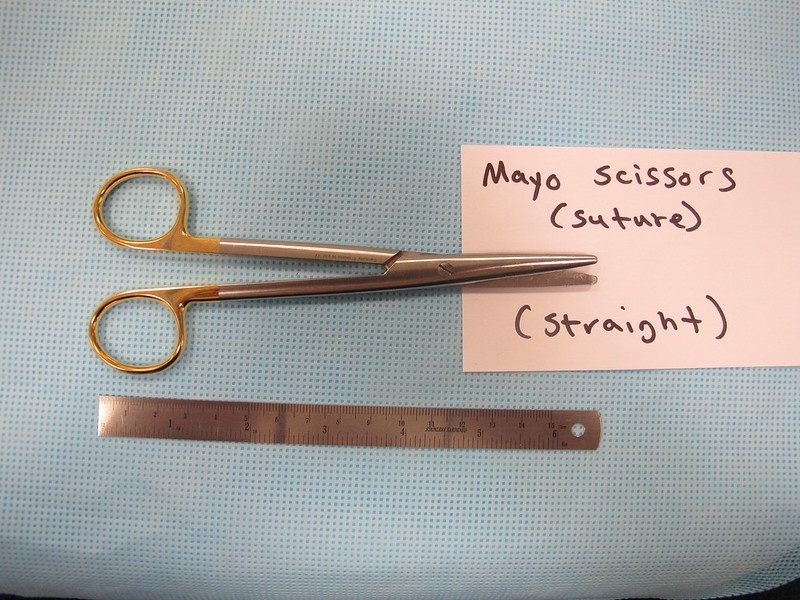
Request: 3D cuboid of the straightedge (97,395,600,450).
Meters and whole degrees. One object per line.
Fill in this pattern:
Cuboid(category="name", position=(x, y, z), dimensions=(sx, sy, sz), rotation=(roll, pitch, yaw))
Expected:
Cuboid(category="straightedge", position=(-0.117, 0.205, 1.484), dimensions=(0.630, 0.013, 0.073), rotation=(1, -92, 0))
